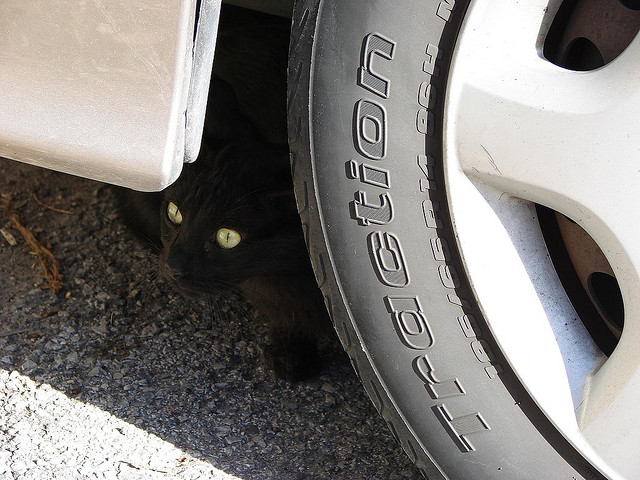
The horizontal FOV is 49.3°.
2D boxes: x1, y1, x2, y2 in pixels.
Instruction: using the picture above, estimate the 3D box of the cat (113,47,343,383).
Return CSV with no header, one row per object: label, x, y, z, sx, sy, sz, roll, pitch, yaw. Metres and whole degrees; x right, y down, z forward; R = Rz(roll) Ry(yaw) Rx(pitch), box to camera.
cat,-0.253,-0.012,1.942,0.347,0.624,0.855,23,49,17
